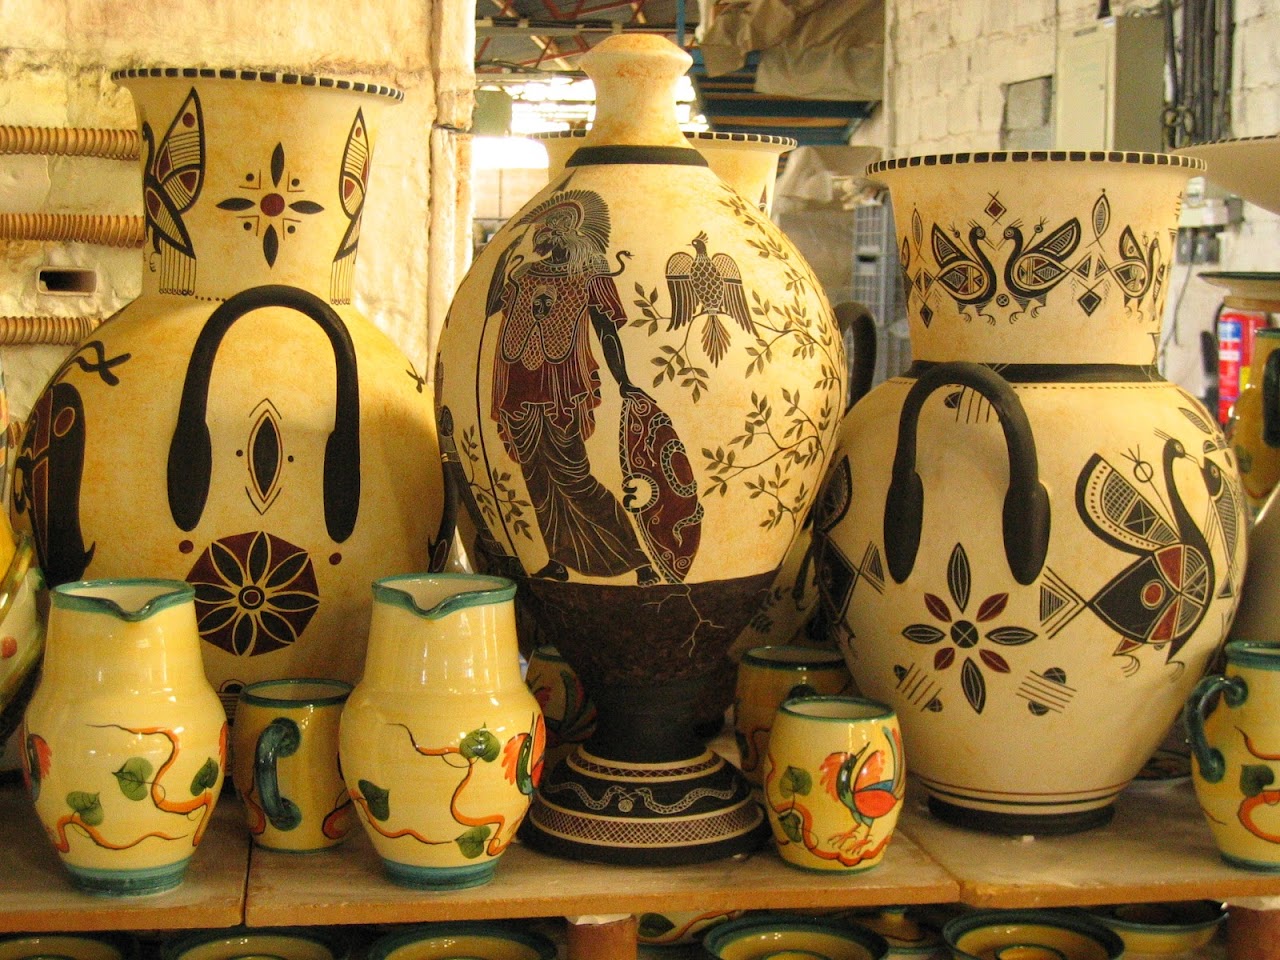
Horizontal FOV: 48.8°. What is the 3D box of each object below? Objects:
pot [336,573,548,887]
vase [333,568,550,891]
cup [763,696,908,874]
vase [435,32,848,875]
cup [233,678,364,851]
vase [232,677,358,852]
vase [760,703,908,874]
[{"bbox_3d":[-0.236,0.287,1.658,0.245,0.324,0.270,2,-2,-14],"label":"pot"},{"bbox_3d":[-0.229,0.290,1.661,0.245,0.324,0.279,2,-1,5],"label":"vase"},{"bbox_3d":[0.239,0.367,1.696,0.151,0.184,0.194,5,-1,32],"label":"cup"},{"bbox_3d":[-0.003,-0.046,1.683,0.373,0.940,0.342,15,20,43],"label":"vase"},{"bbox_3d":[-0.404,0.345,1.644,0.138,0.173,0.201,0,-1,-9],"label":"cup"},{"bbox_3d":[-0.408,0.343,1.646,0.145,0.183,0.214,2,4,3],"label":"vase"},{"bbox_3d":[0.251,0.364,1.684,0.191,0.182,0.148,-1,2,-19],"label":"vase"}]
